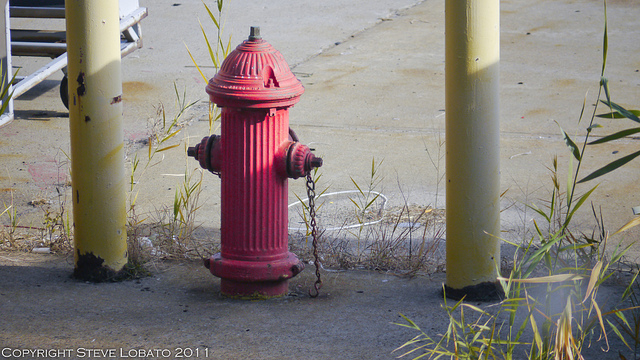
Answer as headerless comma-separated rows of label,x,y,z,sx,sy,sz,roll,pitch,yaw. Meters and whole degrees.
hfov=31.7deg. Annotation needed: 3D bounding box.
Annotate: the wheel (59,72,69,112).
wheel,-3.945,-1.357,17.254,0.097,0.526,0.585,-1,6,-14
